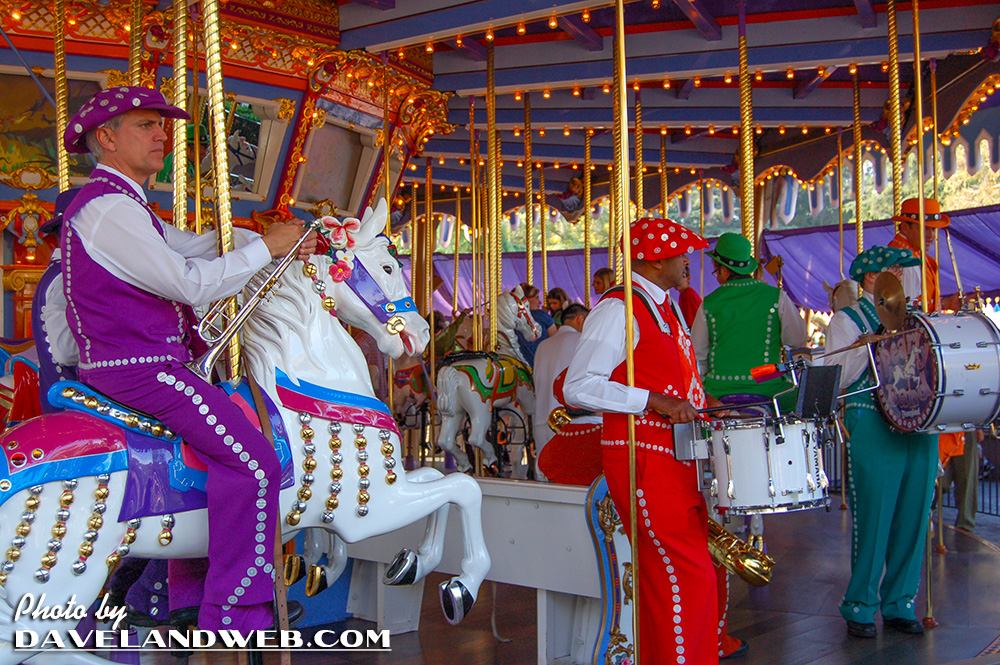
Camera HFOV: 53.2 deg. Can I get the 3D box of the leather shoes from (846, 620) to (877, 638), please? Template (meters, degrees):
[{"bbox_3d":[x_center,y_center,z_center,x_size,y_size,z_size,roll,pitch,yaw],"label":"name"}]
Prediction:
[{"bbox_3d":[2.403,1.980,6.635,0.089,0.085,0.187,7,-18,-32],"label":"leather shoes"}]

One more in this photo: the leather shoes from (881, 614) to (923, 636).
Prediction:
[{"bbox_3d":[2.705,1.963,6.736,0.100,0.117,0.289,4,-8,-43],"label":"leather shoes"}]

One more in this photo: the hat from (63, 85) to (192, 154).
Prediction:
[{"bbox_3d":[-1.923,-1.142,5.052,0.511,0.195,0.412,-13,15,-20],"label":"hat"}]

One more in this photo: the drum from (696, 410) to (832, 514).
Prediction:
[{"bbox_3d":[1.405,0.691,5.216,0.630,0.483,0.179,-2,2,-15],"label":"drum"}]

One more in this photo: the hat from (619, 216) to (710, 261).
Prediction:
[{"bbox_3d":[0.913,-0.510,5.502,0.292,0.107,0.289,-11,19,-44],"label":"hat"}]

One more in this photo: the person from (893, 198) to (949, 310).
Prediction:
[{"bbox_3d":[3.103,-0.692,7.352,0.425,1.120,0.411,1,5,18],"label":"person"}]

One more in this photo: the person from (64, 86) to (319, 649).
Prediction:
[{"bbox_3d":[-1.587,0.143,5.002,1.118,2.740,0.490,-1,2,-10],"label":"person"}]
